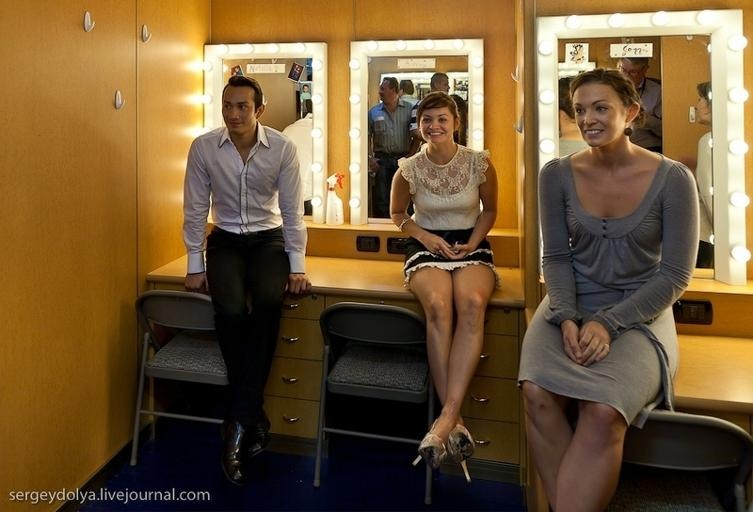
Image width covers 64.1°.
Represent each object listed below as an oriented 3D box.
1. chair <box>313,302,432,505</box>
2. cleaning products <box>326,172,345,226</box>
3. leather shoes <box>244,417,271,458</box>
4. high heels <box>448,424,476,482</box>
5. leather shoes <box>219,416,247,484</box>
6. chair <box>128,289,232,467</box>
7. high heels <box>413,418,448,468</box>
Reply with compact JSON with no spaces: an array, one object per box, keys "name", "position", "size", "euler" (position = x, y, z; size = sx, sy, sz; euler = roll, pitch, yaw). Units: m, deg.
[{"name":"chair","position":[-0.007,0.654,3.100],"size":[0.612,0.974,0.540],"euler":[1,10,6]},{"name":"cleaning products","position":[-0.270,-0.361,3.919],"size":[0.116,0.310,0.126],"euler":[0,10,-3]},{"name":"leather shoes","position":[-0.592,0.911,3.047],"size":[0.073,0.100,0.236],"euler":[0,6,4]},{"name":"high heels","position":[0.369,0.841,2.673],"size":[0.088,0.123,0.306],"euler":[-13,53,9]},{"name":"leather shoes","position":[-0.690,0.959,2.946],"size":[0.103,0.210,0.291],"euler":[11,17,-29]},{"name":"chair","position":[-1.029,0.591,3.250],"size":[0.576,0.945,0.495],"euler":[1,10,2]},{"name":"high heels","position":[0.236,0.832,2.730],"size":[0.171,0.124,0.270],"euler":[-8,11,-1]}]
